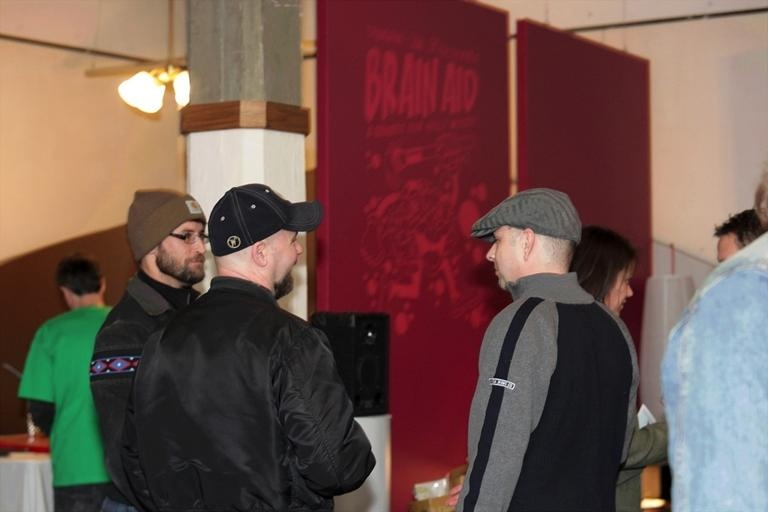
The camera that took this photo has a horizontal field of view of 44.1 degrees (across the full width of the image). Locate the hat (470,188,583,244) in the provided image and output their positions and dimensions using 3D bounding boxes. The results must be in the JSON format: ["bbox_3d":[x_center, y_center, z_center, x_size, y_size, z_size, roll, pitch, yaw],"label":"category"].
[{"bbox_3d":[0.669,-0.181,4.321,0.382,0.209,0.265,4,-4,13],"label":"hat"}]

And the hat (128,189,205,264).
[{"bbox_3d":[-1.136,-0.151,5.007,0.348,0.321,0.350,-15,3,-1],"label":"hat"}]

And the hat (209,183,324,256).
[{"bbox_3d":[-0.544,-0.169,4.291,0.452,0.252,0.286,-22,18,6],"label":"hat"}]

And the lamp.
[{"bbox_3d":[-1.758,-1.331,7.062,0.352,0.116,0.405,-20,45,-15],"label":"lamp"}]
